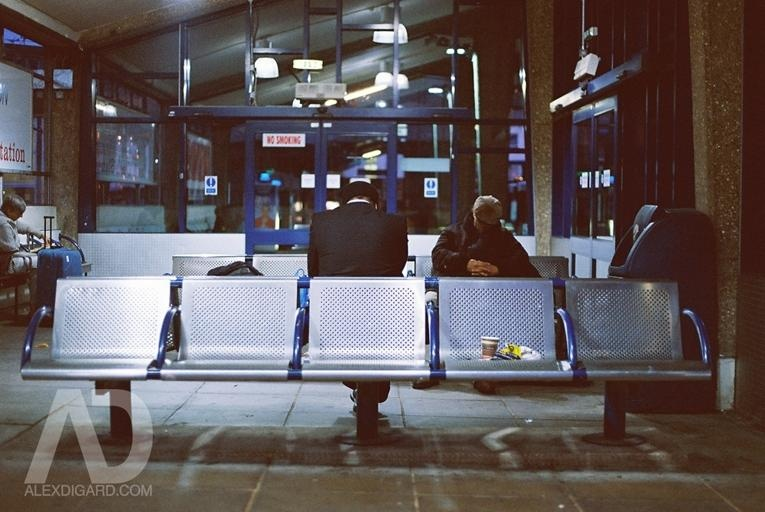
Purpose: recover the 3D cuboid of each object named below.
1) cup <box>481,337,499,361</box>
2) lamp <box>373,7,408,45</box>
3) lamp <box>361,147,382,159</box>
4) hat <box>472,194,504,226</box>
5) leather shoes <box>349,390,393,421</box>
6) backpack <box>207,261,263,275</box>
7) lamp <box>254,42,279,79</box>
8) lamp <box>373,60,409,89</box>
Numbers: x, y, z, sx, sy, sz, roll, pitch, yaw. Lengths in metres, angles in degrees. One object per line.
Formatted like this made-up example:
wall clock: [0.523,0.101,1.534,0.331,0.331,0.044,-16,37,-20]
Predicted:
cup: [0.891,0.761,6.300,0.163,0.161,0.163,5,-6,1]
lamp: [0.227,-4.108,13.551,0.637,0.694,0.647,0,3,12]
lamp: [-0.179,-1.726,12.671,0.328,0.146,0.040,-4,14,-17]
hat: [1.046,-0.473,7.648,0.285,0.266,0.243,0,13,0]
leather shoes: [-0.147,1.416,7.173,0.174,0.222,0.566,1,-9,-8]
backpack: [-1.534,0.140,8.014,0.327,0.101,0.240,7,-6,-29]
lamp: [-2.001,-3.388,13.228,0.419,0.568,0.402,-1,-3,1]
lamp: [0.159,-3.186,13.230,0.568,0.468,0.546,-1,14,-3]
